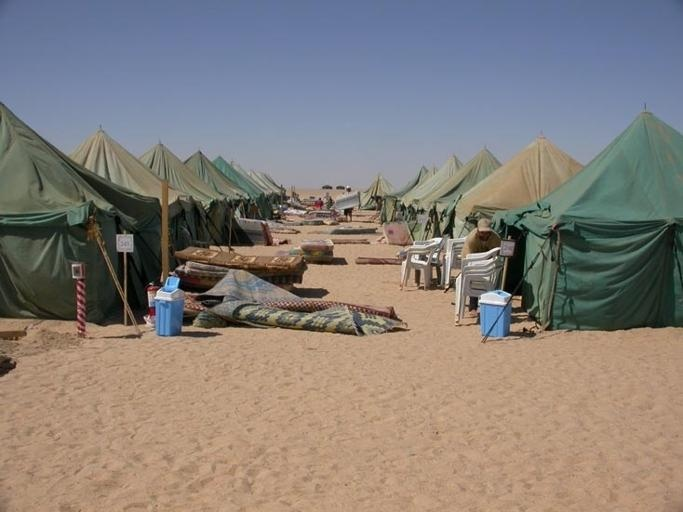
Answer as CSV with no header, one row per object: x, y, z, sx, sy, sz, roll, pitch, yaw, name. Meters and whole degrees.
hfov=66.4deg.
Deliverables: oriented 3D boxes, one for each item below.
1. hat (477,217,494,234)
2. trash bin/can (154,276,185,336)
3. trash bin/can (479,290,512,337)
2.642,-0.553,9.669,0.276,0.168,0.343,2,6,7,hat
-2.688,0.864,8.169,0.437,0.747,0.292,-2,14,-11,trash bin/can
2.548,0.937,8.440,0.617,0.681,0.622,1,-5,29,trash bin/can
